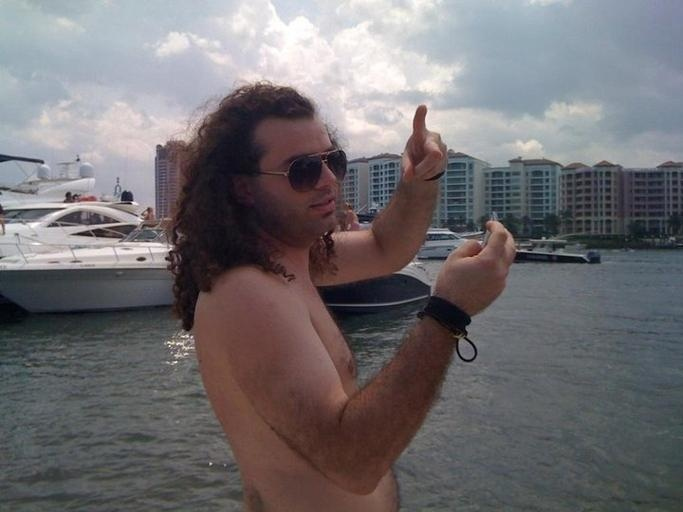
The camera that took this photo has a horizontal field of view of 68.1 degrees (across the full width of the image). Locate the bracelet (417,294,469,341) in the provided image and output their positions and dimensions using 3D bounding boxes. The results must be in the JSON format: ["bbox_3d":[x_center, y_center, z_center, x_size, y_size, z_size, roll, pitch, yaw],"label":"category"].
[{"bbox_3d":[0.351,0.207,1.804,0.159,0.082,0.133,30,8,-2],"label":"bracelet"}]

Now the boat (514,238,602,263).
[{"bbox_3d":[18.604,-0.406,43.130,5.236,1.367,3.319,1,9,5],"label":"boat"}]
